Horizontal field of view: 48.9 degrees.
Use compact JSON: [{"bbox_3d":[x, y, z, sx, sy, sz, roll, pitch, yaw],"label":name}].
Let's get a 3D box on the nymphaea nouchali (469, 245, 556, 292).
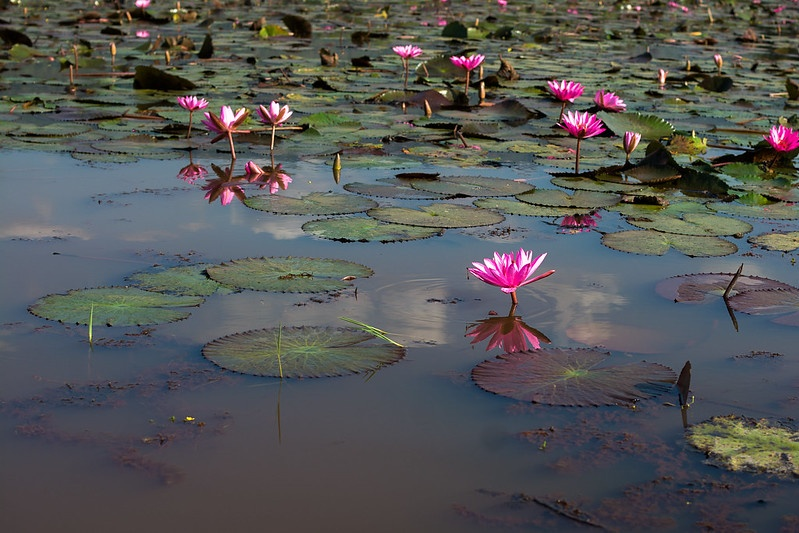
[{"bbox_3d":[0.520,0.034,4.366,0.476,0.123,0.386,-11,-13,11],"label":"nymphaea nouchali"}]
